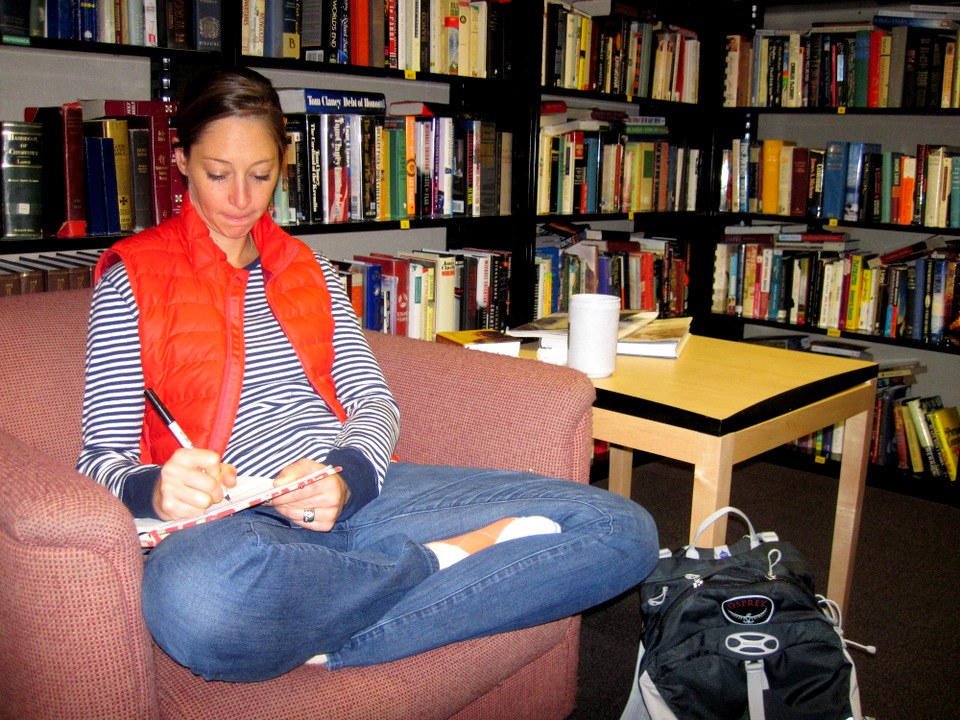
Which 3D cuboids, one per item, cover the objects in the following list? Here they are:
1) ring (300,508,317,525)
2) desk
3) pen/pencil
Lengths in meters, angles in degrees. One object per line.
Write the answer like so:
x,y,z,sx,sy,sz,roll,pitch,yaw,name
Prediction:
-0.274,0.255,1.203,0.017,0.023,0.022,2,1,-8,ring
0.519,0.119,1.967,0.725,0.710,0.723,15,23,42,desk
-0.491,0.142,1.255,0.023,0.209,0.023,-42,-14,19,pen/pencil
